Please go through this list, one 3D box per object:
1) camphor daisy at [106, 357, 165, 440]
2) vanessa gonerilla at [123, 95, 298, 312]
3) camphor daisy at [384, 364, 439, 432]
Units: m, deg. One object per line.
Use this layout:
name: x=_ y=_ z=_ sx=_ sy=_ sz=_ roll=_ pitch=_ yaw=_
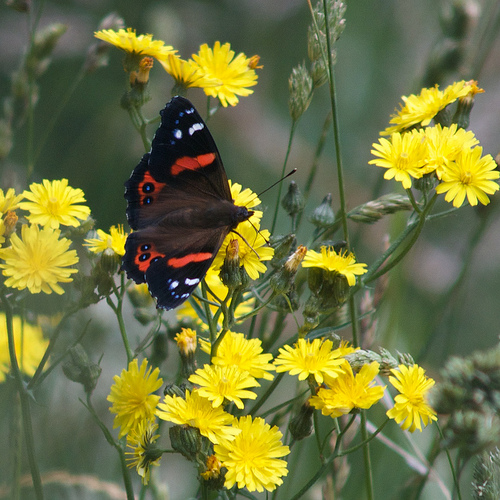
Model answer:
camphor daisy: x=-0.176 y=0.242 z=1.282 sx=0.062 sy=0.108 sz=0.121 roll=26 pitch=49 yaw=-41
vanessa gonerilla: x=-0.058 y=-0.102 z=1.278 sx=0.313 sy=0.409 sz=0.123 roll=-4 pitch=-14 yaw=-6
camphor daisy: x=0.249 y=0.229 z=1.200 sx=0.077 sy=0.075 sz=0.098 roll=7 pitch=27 yaw=-3
